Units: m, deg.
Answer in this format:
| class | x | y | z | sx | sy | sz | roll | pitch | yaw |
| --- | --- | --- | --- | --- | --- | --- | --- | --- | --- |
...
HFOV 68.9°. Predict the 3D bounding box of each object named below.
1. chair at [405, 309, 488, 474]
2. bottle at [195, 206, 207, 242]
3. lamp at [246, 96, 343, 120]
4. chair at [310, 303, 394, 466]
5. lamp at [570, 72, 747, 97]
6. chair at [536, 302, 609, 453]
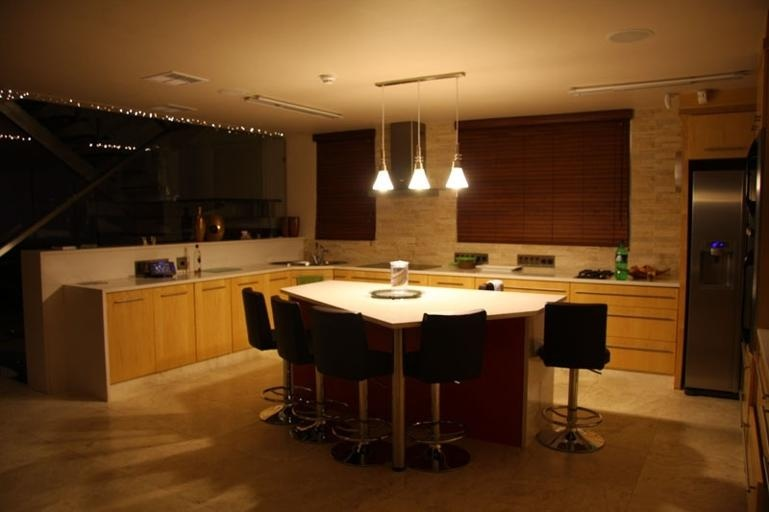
| class | x | y | z | sx | sy | sz | roll | pitch | yaw |
| --- | --- | --- | --- | --- | --- | --- | --- | --- | --- |
| chair | 0.496 | 1.073 | 4.827 | 0.672 | 1.341 | 0.626 | -2 | 12 | -6 |
| bottle | -2.594 | -0.454 | 7.835 | 0.160 | 0.454 | 0.412 | -4 | 13 | -17 |
| lamp | -1.115 | -1.842 | 6.966 | 0.405 | 0.209 | 1.514 | 9 | 15 | 39 |
| chair | -0.263 | 1.056 | 4.974 | 0.699 | 1.352 | 0.729 | 0 | 12 | 4 |
| lamp | 2.877 | -1.826 | 5.931 | 1.714 | 0.135 | 0.396 | 5 | 13 | 23 |
| chair | 1.737 | 1.029 | 5.111 | 0.600 | 1.337 | 0.719 | 4 | 13 | 21 |
